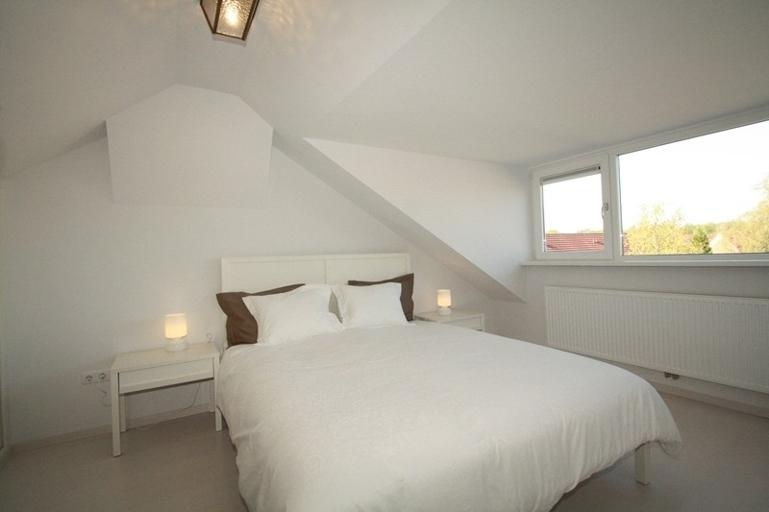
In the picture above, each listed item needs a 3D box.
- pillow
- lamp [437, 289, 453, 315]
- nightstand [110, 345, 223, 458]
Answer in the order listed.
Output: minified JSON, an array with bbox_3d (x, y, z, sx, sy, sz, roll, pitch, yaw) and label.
[{"bbox_3d":[-0.542,0.509,5.132,2.188,0.665,0.512,-3,0,-31],"label":"pillow"},{"bbox_3d":[0.665,0.524,5.786,0.229,0.387,0.227,0,-8,-1],"label":"lamp"},{"bbox_3d":[-1.916,0.938,4.409,1.030,1.014,0.751,-5,11,-33],"label":"nightstand"}]
